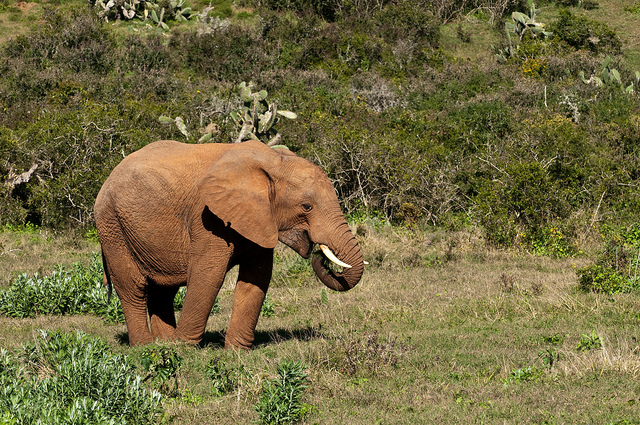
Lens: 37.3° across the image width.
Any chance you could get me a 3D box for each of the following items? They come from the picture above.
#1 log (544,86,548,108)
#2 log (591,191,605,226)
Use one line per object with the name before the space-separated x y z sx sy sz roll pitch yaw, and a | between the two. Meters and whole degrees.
log | 9.059 -4.619 37.888 0.062 0.176 0.912 -13 52 26
log | 9.145 -0.081 31.028 0.054 1.203 0.148 20 15 -7
